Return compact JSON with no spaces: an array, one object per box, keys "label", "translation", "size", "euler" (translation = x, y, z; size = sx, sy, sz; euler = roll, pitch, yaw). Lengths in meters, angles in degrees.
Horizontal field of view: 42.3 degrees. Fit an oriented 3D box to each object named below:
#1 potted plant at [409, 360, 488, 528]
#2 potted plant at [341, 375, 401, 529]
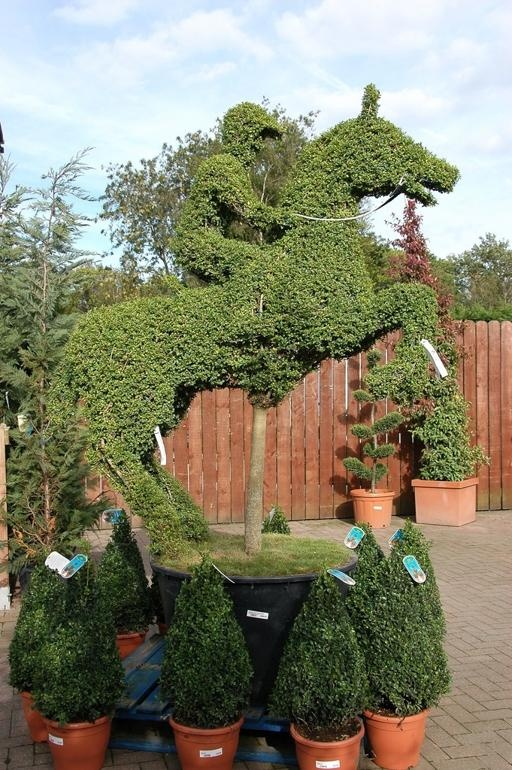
[{"label":"potted plant","translation":[2.996,1.018,10.520],"size":[1.015,2.450,0.686],"euler":[0,4,13]},{"label":"potted plant","translation":[1.908,1.199,10.475],"size":[0.971,1.951,0.788],"euler":[2,-1,-5]}]
